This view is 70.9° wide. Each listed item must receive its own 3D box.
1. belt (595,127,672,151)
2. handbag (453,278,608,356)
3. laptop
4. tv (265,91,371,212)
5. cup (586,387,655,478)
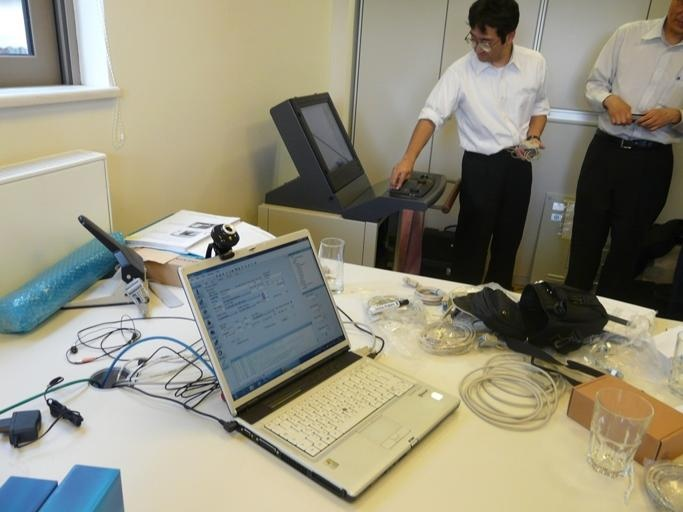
[{"bbox_3d":[1.640,-0.652,2.724,0.394,0.098,0.124,14,31,28],"label":"belt"},{"bbox_3d":[0.595,0.174,1.489,0.322,0.140,0.243,0,27,4],"label":"handbag"},{"bbox_3d":[-0.078,0.290,1.396,0.688,0.588,0.534,23,35,32],"label":"laptop"},{"bbox_3d":[-0.122,-0.622,2.732,0.527,0.580,0.512,9,28,21],"label":"tv"},{"bbox_3d":[0.667,0.424,1.144,0.107,0.174,0.111,2,24,-1],"label":"cup"}]
